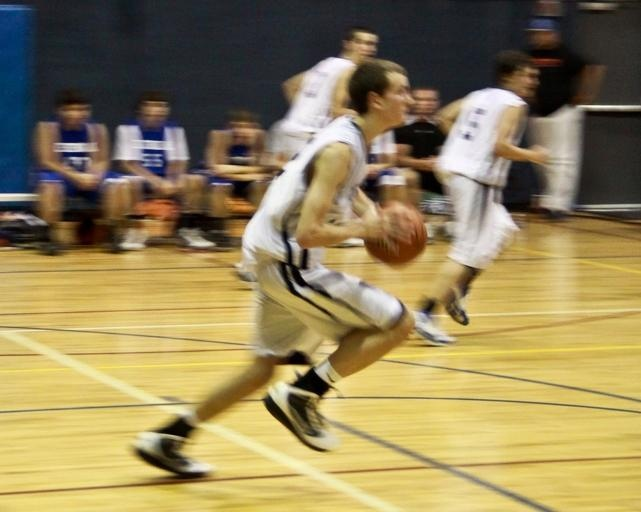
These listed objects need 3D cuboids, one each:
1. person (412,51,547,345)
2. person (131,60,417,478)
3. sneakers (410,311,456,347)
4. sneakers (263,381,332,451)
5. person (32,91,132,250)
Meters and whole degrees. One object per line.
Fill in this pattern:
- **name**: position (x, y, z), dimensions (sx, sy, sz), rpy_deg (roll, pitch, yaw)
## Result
- **person**: position (0.955, -0.364, 4.294), dimensions (0.597, 1.663, 0.896), rpy_deg (9, 13, 6)
- **person**: position (-0.097, 0.049, 2.169), dimensions (0.772, 1.292, 0.408), rpy_deg (1, 15, -24)
- **sneakers**: position (0.646, 0.393, 4.143), dimensions (0.243, 0.186, 0.207), rpy_deg (6, 11, 7)
- **sneakers**: position (-0.060, 0.471, 2.169), dimensions (0.224, 0.185, 0.101), rpy_deg (4, 13, -4)
- **person**: position (-2.190, -0.767, 6.813), dimensions (0.874, 1.476, 0.516), rpy_deg (4, 14, -10)
